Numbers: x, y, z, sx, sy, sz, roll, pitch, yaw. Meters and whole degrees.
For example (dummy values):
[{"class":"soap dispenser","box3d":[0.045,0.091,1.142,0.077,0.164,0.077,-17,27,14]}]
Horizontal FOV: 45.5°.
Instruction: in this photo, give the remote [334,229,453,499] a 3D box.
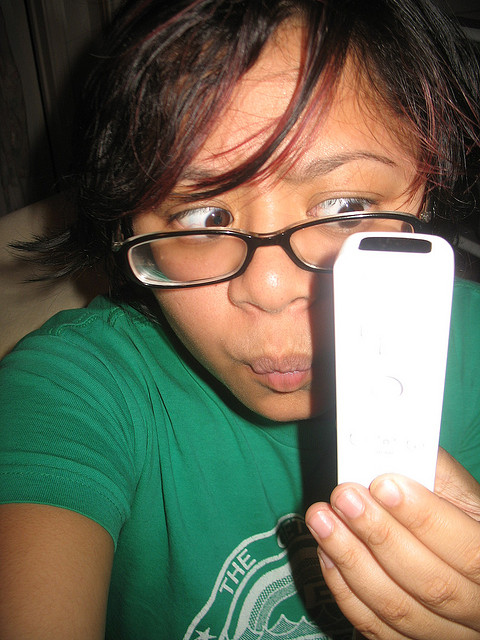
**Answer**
[{"class":"remote","box3d":[0.122,0.063,0.493,0.096,0.032,0.272,1,99,-1]}]
